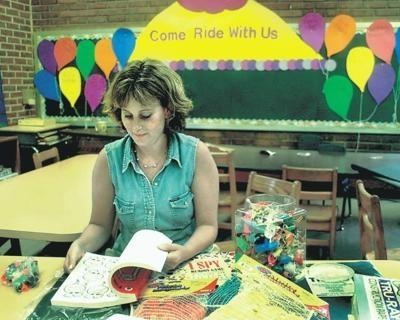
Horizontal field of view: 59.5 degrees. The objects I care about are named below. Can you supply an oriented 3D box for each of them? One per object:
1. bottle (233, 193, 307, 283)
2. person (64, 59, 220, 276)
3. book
[{"bbox_3d":[0.252,0.267,1.224,0.223,0.271,0.212,0,8,0],"label":"bottle"},{"bbox_3d":[-0.239,0.046,1.523,0.575,0.939,0.619,-1,10,1],"label":"person"},{"bbox_3d":[-0.298,0.285,1.160,0.256,0.100,0.239,3,17,9],"label":"book"}]
